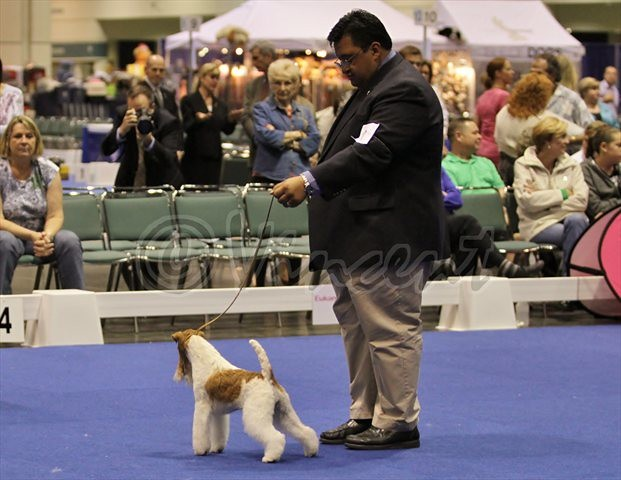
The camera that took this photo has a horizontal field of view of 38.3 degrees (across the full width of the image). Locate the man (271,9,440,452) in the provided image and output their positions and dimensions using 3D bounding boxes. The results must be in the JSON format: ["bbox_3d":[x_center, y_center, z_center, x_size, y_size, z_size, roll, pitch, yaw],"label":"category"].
[{"bbox_3d":[0.271,-0.085,4.967,0.974,2.334,0.875,1,-2,-13],"label":"man"}]

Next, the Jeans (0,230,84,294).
[{"bbox_3d":[-1.873,0.189,6.447,0.422,0.694,0.492,3,-9,-27],"label":"Jeans"}]

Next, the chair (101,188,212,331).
[{"bbox_3d":[-1.286,0.075,7.039,0.731,0.957,0.768,-2,4,-2],"label":"chair"}]

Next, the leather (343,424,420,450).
[{"bbox_3d":[0.384,1.044,4.829,0.382,0.192,0.144,2,-4,-7],"label":"leather"}]

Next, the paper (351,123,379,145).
[{"bbox_3d":[0.283,-0.547,4.595,0.039,0.128,0.088,23,13,-45],"label":"paper"}]

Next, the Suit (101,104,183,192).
[{"bbox_3d":[-1.327,-0.713,7.607,0.689,1.004,0.655,1,-2,-4],"label":"Suit"}]

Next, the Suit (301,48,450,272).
[{"bbox_3d":[0.397,-0.413,5.310,0.943,1.477,1.069,1,1,3],"label":"Suit"}]

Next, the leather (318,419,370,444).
[{"bbox_3d":[0.189,1.032,4.869,0.305,0.135,0.114,0,-5,-7],"label":"leather"}]

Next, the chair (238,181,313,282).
[{"bbox_3d":[-0.275,-0.061,7.317,0.577,0.962,0.681,1,-5,-18],"label":"chair"}]

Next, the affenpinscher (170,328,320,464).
[{"bbox_3d":[-0.382,0.780,4.578,0.790,0.642,0.292,-1,1,26],"label":"affenpinscher"}]

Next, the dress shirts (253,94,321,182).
[{"bbox_3d":[-0.214,-0.877,7.678,0.543,0.697,0.378,-2,8,-20],"label":"dress shirts"}]

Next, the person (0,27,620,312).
[{"bbox_3d":[0.148,-0.612,7.475,4.146,1.423,0.994,0,-6,-19],"label":"person"}]

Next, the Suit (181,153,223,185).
[{"bbox_3d":[-1.031,-0.693,8.655,0.478,0.352,0.278,-1,7,-9],"label":"Suit"}]
